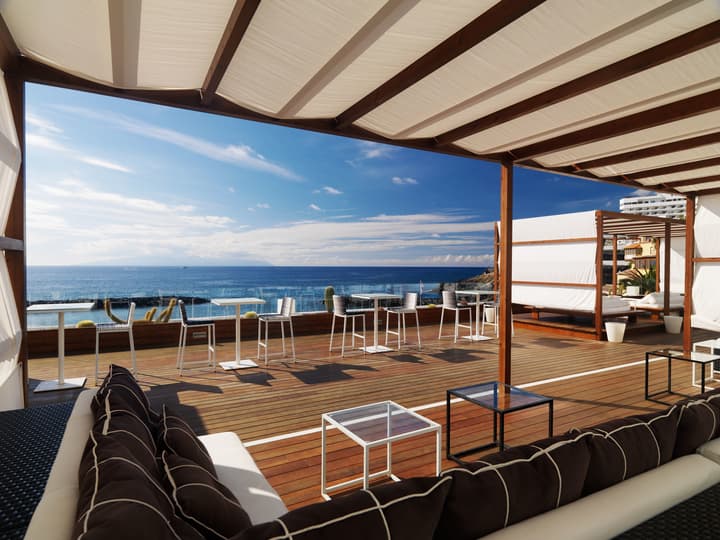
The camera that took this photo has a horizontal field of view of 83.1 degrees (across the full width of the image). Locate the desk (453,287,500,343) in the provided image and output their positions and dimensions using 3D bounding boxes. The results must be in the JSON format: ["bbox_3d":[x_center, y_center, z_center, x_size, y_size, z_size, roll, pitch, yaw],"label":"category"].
[{"bbox_3d":[2.339,0.862,8.300,1.236,0.986,1.152,-1,1,-37],"label":"desk"}]

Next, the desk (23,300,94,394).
[{"bbox_3d":[-3.357,0.841,4.585,0.545,0.929,0.846,2,-5,-32],"label":"desk"}]

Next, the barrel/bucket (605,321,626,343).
[{"bbox_3d":[4.570,1.097,7.271,0.386,0.275,0.365,1,-4,0],"label":"barrel/bucket"}]

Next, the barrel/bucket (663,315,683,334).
[{"bbox_3d":[6.219,1.080,8.040,0.405,0.296,0.382,0,-3,0],"label":"barrel/bucket"}]

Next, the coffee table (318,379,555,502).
[{"bbox_3d":[0.410,1.135,2.856,1.472,0.605,0.997,1,-5,-22],"label":"coffee table"}]
